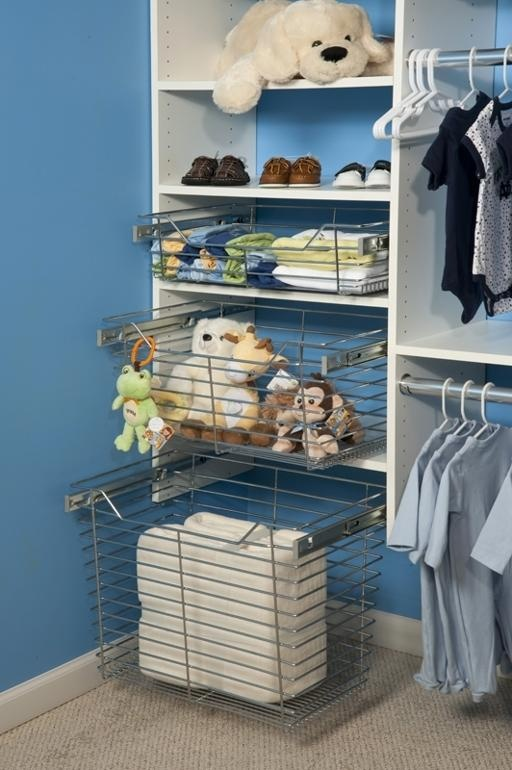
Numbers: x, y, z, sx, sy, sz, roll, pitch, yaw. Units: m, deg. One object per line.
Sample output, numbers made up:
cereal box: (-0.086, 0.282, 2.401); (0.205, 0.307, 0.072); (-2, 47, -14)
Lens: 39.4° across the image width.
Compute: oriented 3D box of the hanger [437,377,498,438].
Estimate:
hanger: (0.392, 0.040, 1.342); (0.090, 0.097, 0.056); (12, 35, 36)

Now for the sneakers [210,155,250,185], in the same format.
sneakers: (-0.061, -0.481, 1.593); (0.049, 0.045, 0.111); (0, 11, 3)

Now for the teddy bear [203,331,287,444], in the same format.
teddy bear: (-0.027, 0.009, 1.489); (0.192, 0.205, 0.135); (16, 23, 43)
